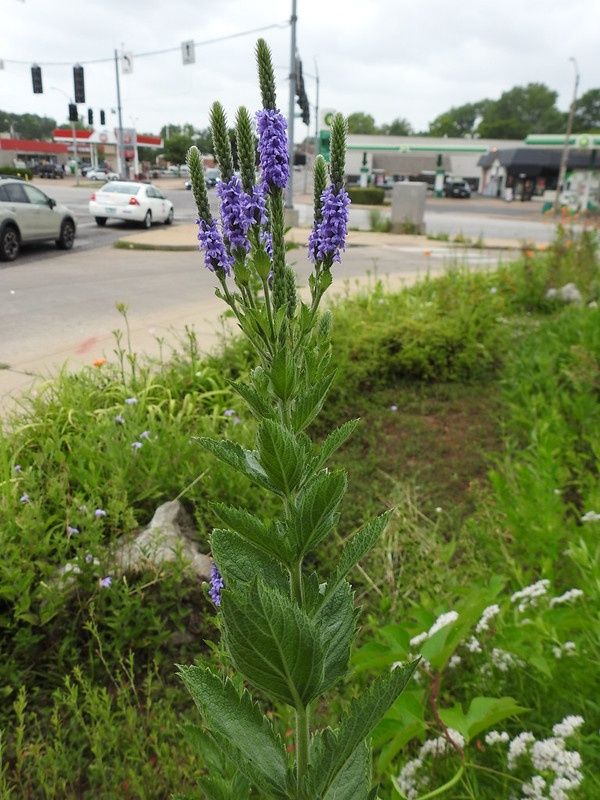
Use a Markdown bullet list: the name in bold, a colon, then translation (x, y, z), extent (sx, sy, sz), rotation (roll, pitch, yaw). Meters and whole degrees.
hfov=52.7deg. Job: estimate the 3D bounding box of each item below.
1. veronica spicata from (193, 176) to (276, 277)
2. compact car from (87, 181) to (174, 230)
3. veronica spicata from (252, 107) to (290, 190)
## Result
- **veronica spicata**: translation (-0.160, -0.394, 1.388), extent (0.123, 0.230, 0.249), rotation (-18, 27, -40)
- **compact car**: translation (-4.783, -5.556, 17.208), extent (0.900, 1.314, 3.286), rotation (4, 21, 12)
- **veronica spicata**: translation (-0.060, -0.531, 1.289), extent (0.063, 0.160, 0.073), rotation (-2, 20, -3)
